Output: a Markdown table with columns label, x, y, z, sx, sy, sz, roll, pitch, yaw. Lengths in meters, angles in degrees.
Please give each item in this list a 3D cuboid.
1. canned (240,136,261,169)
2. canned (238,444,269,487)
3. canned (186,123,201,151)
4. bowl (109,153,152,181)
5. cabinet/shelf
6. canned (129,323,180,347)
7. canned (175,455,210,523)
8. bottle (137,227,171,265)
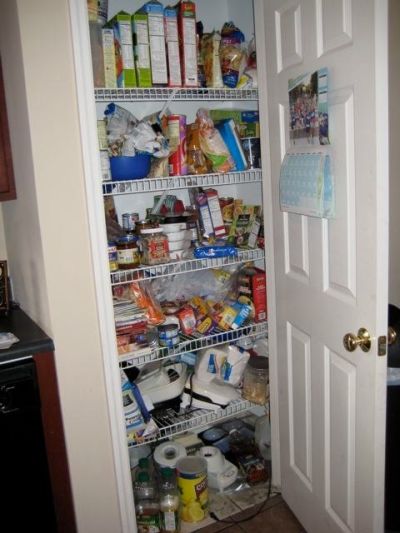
| label | x | y | z | sx | sy | sz | roll | pitch | yaw |
| --- | --- | --- | --- | --- | --- | --- | --- | --- | --- |
| canned | 0.177 | -0.434 | 1.560 | 0.095 | 0.105 | 0.106 | 0 | 25 | 3 |
| canned | 0.218 | 0.841 | 1.760 | 0.109 | 0.055 | 0.190 | -3 | 26 | -10 |
| canned | -0.020 | -0.472 | 1.510 | 0.052 | 0.102 | 0.075 | -6 | 17 | -22 |
| bowl | -0.222 | -0.326 | 1.354 | 0.142 | 0.084 | 0.087 | -12 | 13 | -19 |
| cabinet/shelf | -0.066 | -0.060 | 1.602 | 0.794 | 1.934 | 0.587 | -11 | 12 | -22 |
| canned | -0.150 | 0.248 | 1.451 | 0.120 | 0.058 | 0.079 | -9 | 0 | 23 |
| canned | -0.023 | 0.831 | 1.541 | 0.105 | 0.184 | 0.103 | -1 | -3 | -24 |
| bottle | -0.162 | -0.072 | 1.429 | 0.105 | 0.125 | 0.114 | -4 | 12 | -5 |
